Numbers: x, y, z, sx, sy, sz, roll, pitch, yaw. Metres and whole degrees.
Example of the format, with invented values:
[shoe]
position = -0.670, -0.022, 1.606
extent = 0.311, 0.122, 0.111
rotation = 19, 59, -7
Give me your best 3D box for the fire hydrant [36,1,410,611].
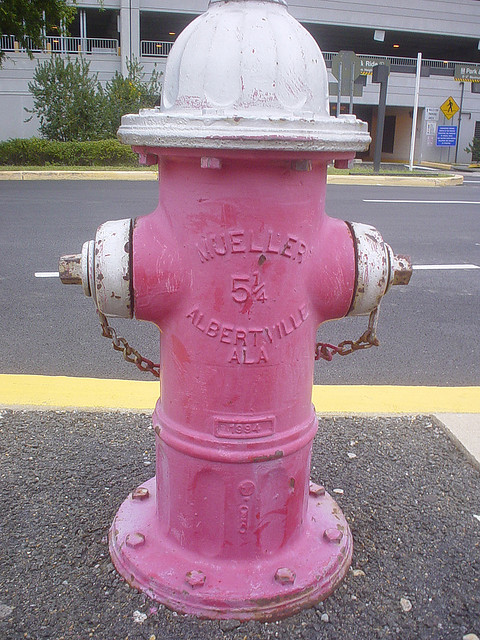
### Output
[fire hydrant]
position = 0.002, 0.000, 2.019
extent = 0.903, 1.743, 0.505
rotation = -5, 17, -13
